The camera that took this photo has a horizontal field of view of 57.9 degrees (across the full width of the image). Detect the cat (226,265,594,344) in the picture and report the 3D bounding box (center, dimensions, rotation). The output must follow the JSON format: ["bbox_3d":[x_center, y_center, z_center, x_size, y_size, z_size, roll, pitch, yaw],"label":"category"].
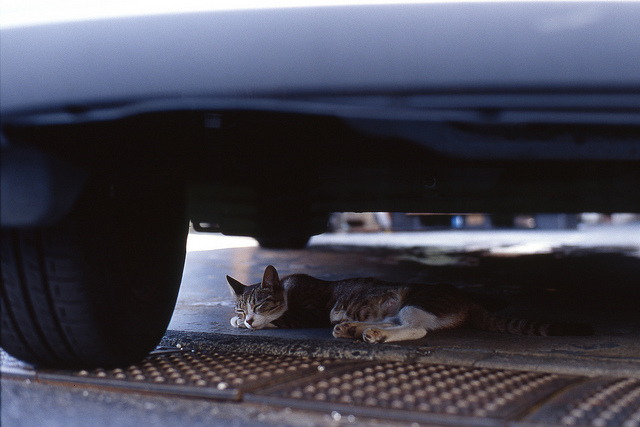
[{"bbox_3d":[0.341,0.449,2.902,1.553,0.398,0.655,-6,-15,28],"label":"cat"}]
